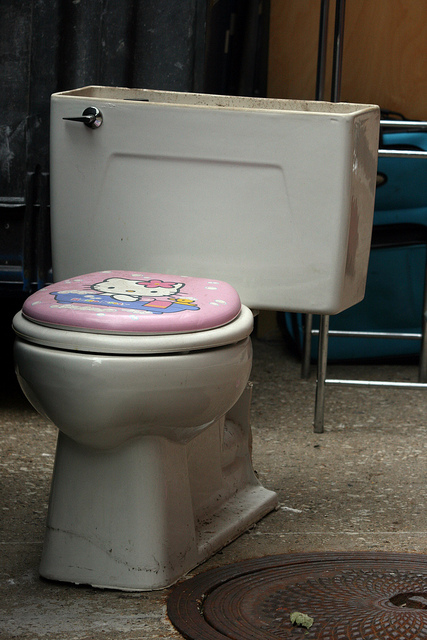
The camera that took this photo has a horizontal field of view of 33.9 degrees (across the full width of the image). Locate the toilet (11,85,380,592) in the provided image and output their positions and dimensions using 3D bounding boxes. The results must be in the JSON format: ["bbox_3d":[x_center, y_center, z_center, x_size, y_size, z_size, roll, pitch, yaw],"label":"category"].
[{"bbox_3d":[-0.075,0.003,1.140,0.520,0.671,0.663,7,14,14],"label":"toilet"}]

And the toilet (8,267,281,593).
[{"bbox_3d":[-0.094,0.138,1.097,0.429,0.479,0.424,0,14,6],"label":"toilet"}]
